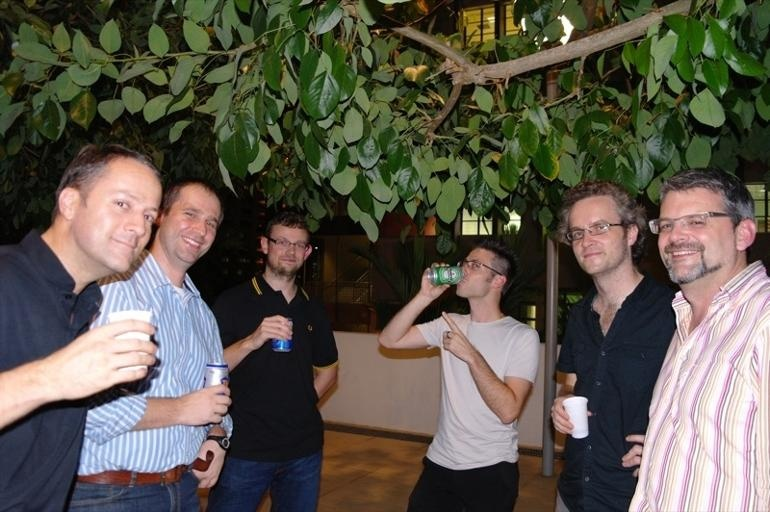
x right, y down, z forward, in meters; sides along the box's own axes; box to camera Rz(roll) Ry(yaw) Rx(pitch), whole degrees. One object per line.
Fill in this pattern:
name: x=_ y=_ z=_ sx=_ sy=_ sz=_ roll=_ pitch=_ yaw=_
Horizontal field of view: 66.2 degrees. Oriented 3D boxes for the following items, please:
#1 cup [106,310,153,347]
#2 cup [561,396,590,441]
cup: x=-0.994 y=0.273 z=2.298 sx=0.151 sy=0.119 sz=0.218 roll=2 pitch=-5 yaw=-25
cup: x=1.041 y=0.878 z=3.217 sx=0.123 sy=0.220 sz=0.076 roll=-1 pitch=-3 yaw=13
